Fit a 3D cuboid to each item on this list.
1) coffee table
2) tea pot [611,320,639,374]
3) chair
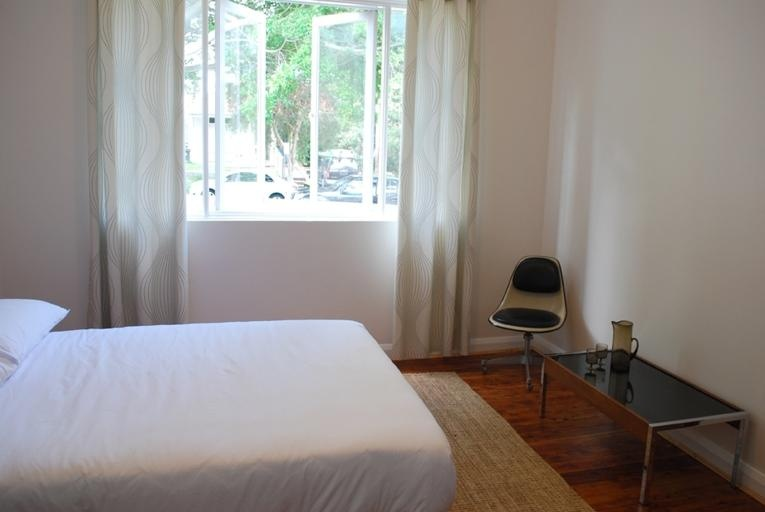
[{"bbox_3d":[1.733,0.899,3.693,0.742,0.550,1.123,-3,12,-13],"label":"coffee table"},{"bbox_3d":[1.725,0.660,4.040,0.294,0.404,0.157,4,-7,-11],"label":"tea pot"},{"bbox_3d":[1.245,0.528,4.758,0.655,0.937,0.692,8,14,42],"label":"chair"}]
